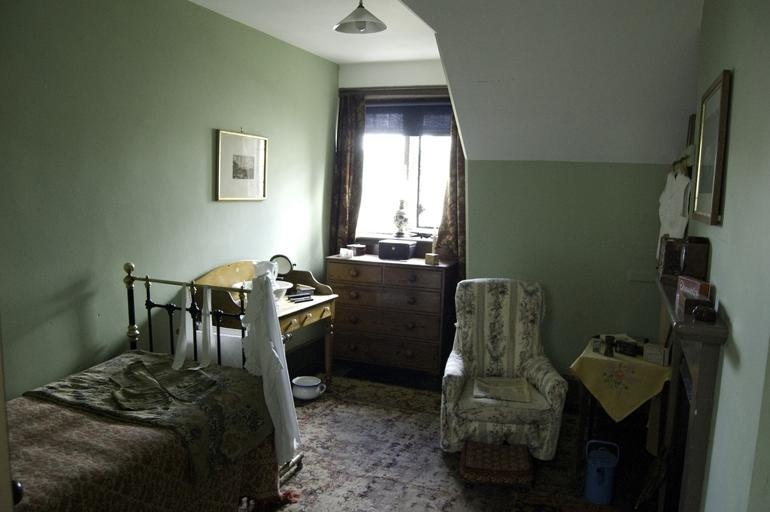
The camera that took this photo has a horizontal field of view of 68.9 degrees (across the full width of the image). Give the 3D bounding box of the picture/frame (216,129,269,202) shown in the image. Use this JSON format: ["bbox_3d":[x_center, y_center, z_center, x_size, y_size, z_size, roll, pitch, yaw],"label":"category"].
[{"bbox_3d":[-1.229,-0.782,4.935,0.599,0.560,0.045,9,10,33],"label":"picture/frame"}]

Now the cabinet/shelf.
[{"bbox_3d":[0.098,0.669,5.567,1.228,1.148,0.593,3,4,20],"label":"cabinet/shelf"}]

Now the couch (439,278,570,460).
[{"bbox_3d":[0.953,0.865,4.433,0.905,1.188,1.095,2,6,14],"label":"couch"}]

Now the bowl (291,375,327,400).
[{"bbox_3d":[-0.684,1.178,5.060,0.248,0.111,0.186,8,-10,-34],"label":"bowl"}]
